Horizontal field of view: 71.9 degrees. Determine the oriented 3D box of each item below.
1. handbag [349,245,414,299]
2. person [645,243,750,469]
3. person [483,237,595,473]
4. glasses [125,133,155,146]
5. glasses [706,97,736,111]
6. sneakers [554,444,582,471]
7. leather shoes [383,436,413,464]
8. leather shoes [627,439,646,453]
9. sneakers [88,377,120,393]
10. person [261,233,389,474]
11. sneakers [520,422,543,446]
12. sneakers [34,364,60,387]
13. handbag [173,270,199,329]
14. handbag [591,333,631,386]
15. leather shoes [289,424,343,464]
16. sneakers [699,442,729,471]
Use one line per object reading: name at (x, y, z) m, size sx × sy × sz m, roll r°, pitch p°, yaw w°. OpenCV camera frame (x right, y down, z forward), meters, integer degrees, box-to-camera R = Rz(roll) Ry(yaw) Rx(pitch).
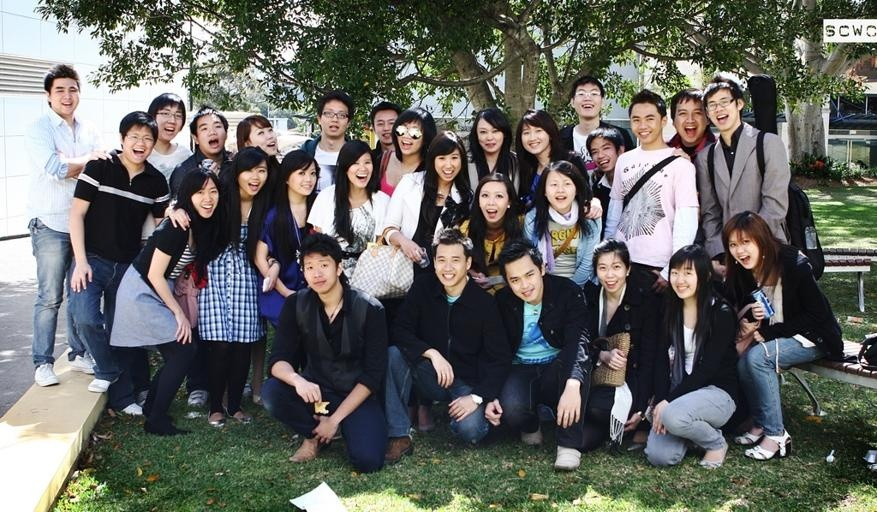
handbag at (-0.535, 0.170, 5.968) m, size 0.467 × 0.446 × 0.232 m, roll 17°, pitch -3°, yaw 2°
person at (2.300, 0.877, 5.428) m, size 0.847 × 1.887 × 0.681 m, roll -1°, pitch 9°, yaw 15°
person at (0.926, 0.848, 5.554) m, size 0.918 × 1.989 × 0.702 m, roll -1°, pitch 9°, yaw 14°
glasses at (-2.981, -1.159, 6.022) m, size 0.176 × 0.061 × 0.163 m, roll -1°, pitch 1°, yaw -1°
glasses at (2.807, -1.498, 5.978) m, size 0.247 × 0.116 × 0.063 m, roll 1°, pitch 9°, yaw 22°
sneakers at (1.177, 1.781, 5.355) m, size 0.322 × 0.176 × 0.165 m, roll -5°, pitch 9°, yaw -20°
leather shoes at (-0.377, 1.751, 5.496) m, size 0.135 × 0.186 × 0.290 m, roll 4°, pitch 11°, yaw 41°
leather shoes at (1.843, 1.763, 5.574) m, size 0.206 × 0.060 × 0.071 m, roll -16°, pitch -4°, yaw -20°
sneakers at (-3.413, 1.313, 6.104) m, size 0.106 × 0.097 × 0.254 m, roll 2°, pitch -19°, yaw -2°
person at (-1.030, 0.843, 5.467) m, size 1.087 × 2.067 × 0.573 m, roll -2°, pitch 9°, yaw 9°
sneakers at (0.875, 1.675, 5.670) m, size 0.191 × 0.133 × 0.346 m, roll -2°, pitch -15°, yaw 6°
sneakers at (-4.018, 1.215, 6.187) m, size 0.196 × 0.221 × 0.165 m, roll -8°, pitch 10°, yaw -31°
handbag at (-2.502, 0.441, 6.032) m, size 0.242 × 0.539 × 0.077 m, roll -2°, pitch 9°, yaw 9°
handbag at (1.680, 0.979, 5.676) m, size 0.162 × 0.460 × 0.376 m, roll 16°, pitch -13°, yaw -24°
leather shoes at (-1.021, 1.712, 5.586) m, size 0.196 × 0.259 × 0.639 m, roll -6°, pitch 0°, yaw 43°
sneakers at (2.425, 1.771, 5.304) m, size 0.132 × 0.105 × 0.316 m, roll -20°, pitch -9°, yaw 37°
